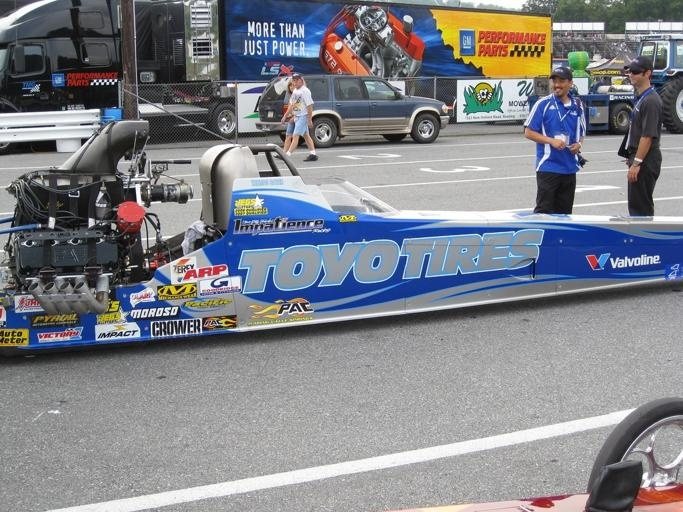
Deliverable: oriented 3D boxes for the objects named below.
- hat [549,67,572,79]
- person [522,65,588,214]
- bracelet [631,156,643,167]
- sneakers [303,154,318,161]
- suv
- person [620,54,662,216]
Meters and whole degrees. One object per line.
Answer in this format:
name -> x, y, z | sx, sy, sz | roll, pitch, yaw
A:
hat -> 2.420, -2.013, 7.193 | 0.162, 0.109, 0.234 | 8, 12, 39
person -> 2.391, -1.277, 7.325 | 0.642, 1.623, 0.744 | 5, 16, 19
bracelet -> 3.352, -1.072, 7.395 | 0.082, 0.061, 0.106 | 2, -26, 39
sneakers -> -0.765, -2.476, 16.488 | 0.336, 0.139, 0.133 | 4, 10, 28
suv -> 0.170, -4.475, 20.256 | 5.558, 1.863, 2.495 | -10, 19, -22
person -> 3.454, -1.359, 7.527 | 0.467, 1.805, 0.825 | 6, 16, 23
